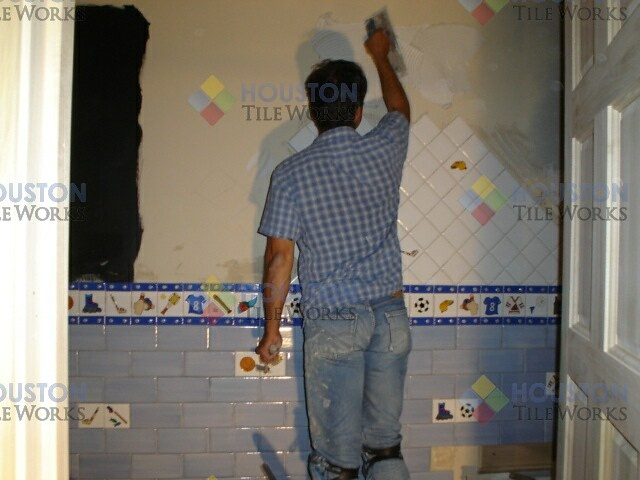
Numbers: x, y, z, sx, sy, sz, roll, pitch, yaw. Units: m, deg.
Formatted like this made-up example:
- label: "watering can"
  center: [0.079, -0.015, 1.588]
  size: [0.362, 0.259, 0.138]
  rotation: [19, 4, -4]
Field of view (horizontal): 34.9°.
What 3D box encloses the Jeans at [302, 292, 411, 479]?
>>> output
- label: "Jeans"
  center: [0.186, 0.725, 5.216]
  size: [0.554, 0.881, 0.223]
  rotation: [2, -6, 0]
